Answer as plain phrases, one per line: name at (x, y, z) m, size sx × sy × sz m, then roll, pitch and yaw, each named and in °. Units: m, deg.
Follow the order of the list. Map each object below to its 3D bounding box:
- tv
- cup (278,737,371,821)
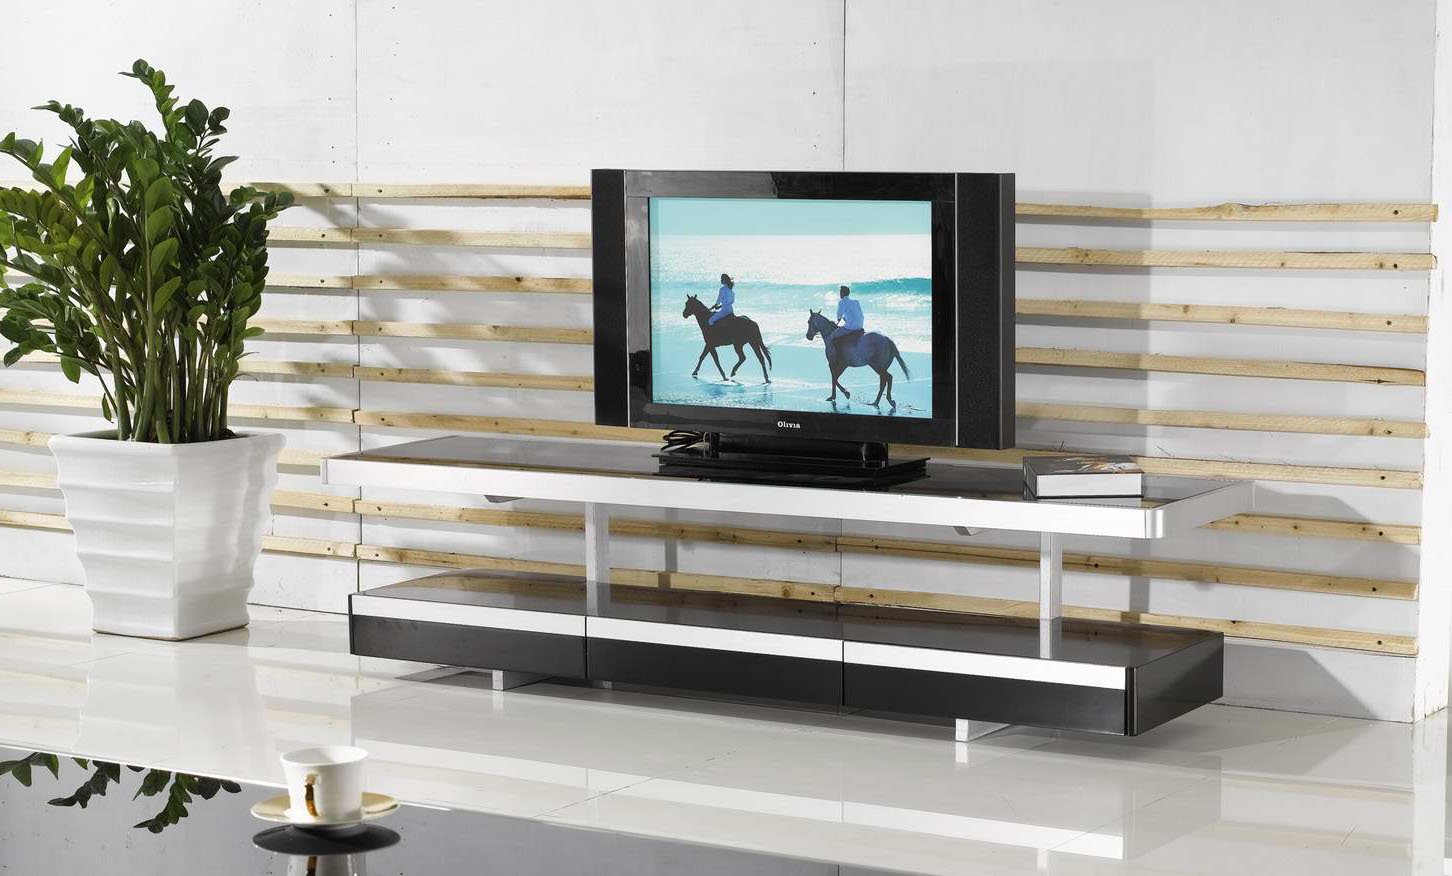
tv at (0.335, -0.430, 5.025) m, size 1.648 × 0.739 × 0.202 m, roll 2°, pitch 5°, yaw 18°
cup at (-0.751, 0.647, 2.571) m, size 0.173 × 0.092 × 0.148 m, roll -6°, pitch 12°, yaw -36°
